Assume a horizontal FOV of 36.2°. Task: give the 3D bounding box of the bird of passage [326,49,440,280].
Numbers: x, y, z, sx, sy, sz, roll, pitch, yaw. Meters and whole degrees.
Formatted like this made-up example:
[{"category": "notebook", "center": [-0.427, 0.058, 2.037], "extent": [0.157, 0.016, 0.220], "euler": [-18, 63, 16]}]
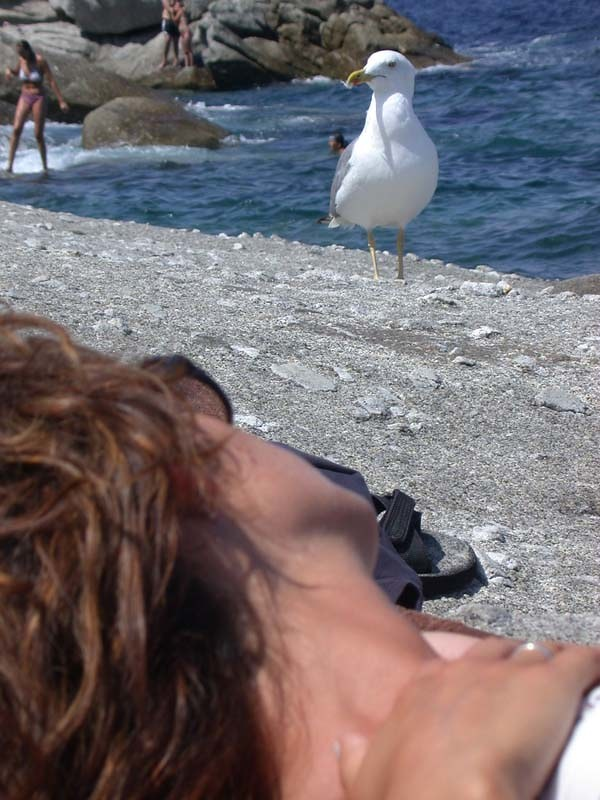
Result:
[{"category": "bird of passage", "center": [0.564, -1.570, 6.180], "extent": [0.686, 1.497, 1.017], "euler": [3, 19, 1]}]
